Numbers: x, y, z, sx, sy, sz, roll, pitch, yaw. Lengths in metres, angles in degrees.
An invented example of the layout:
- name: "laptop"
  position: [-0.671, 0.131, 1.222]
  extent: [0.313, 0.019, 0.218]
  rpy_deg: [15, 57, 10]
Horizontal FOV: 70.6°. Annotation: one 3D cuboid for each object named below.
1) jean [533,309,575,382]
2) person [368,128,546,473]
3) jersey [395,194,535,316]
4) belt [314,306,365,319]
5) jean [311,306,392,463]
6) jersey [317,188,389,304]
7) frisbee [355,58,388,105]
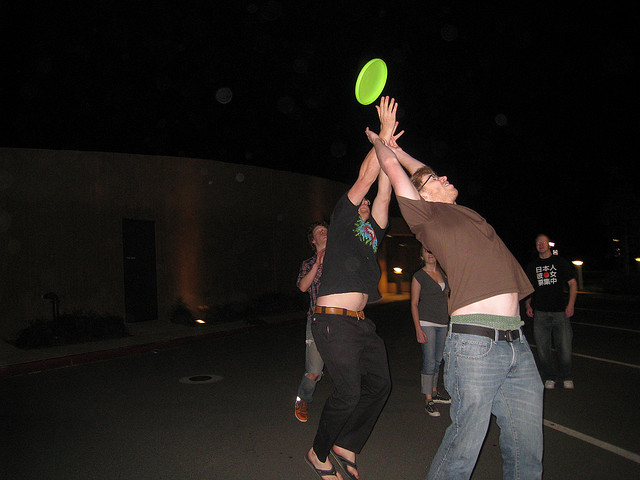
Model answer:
- name: "jean"
  position: [3.825, 1.755, 7.425]
  extent: [0.556, 1.313, 0.374]
  rpy_deg: [3, -41, 19]
- name: "person"
  position: [1.252, 0.618, 3.796]
  extent: [1.161, 2.774, 0.383]
  rpy_deg: [0, 0, -7]
- name: "jersey"
  position: [1.339, 0.084, 4.023]
  extent: [1.121, 1.146, 0.594]
  rpy_deg: [0, -25, -43]
- name: "belt"
  position: [0.205, 0.764, 4.786]
  extent: [0.532, 0.102, 0.190]
  rpy_deg: [0, 0, -2]
- name: "jean"
  position: [0.319, 1.528, 4.874]
  extent: [0.807, 1.490, 0.457]
  rpy_deg: [0, 0, -36]
- name: "jersey"
  position: [0.414, 0.084, 4.999]
  extent: [0.732, 1.205, 0.585]
  rpy_deg: [13, -11, -43]
- name: "frisbee"
  position: [0.631, -1.944, 5.560]
  extent: [0.384, 0.519, 0.277]
  rpy_deg: [0, 0, -16]
